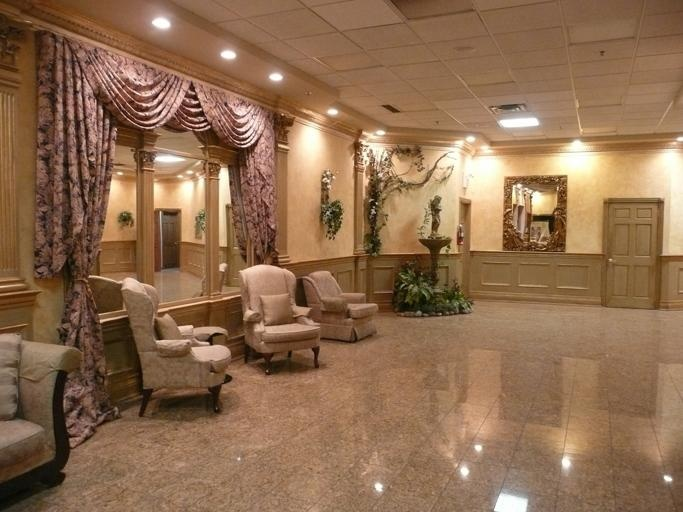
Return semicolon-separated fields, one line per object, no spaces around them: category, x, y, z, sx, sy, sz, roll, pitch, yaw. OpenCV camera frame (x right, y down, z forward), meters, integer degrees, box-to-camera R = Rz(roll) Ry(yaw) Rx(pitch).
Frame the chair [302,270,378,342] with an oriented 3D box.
chair;-0.096;0.767;7.216;1.140;1.189;1.016;2;3;31

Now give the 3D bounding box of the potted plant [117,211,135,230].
potted plant;-2.363;-0.387;4.905;0.138;0.136;0.152;17;-7;24

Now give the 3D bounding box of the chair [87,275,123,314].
chair;-2.474;0.373;4.787;0.346;0.470;0.373;7;8;43

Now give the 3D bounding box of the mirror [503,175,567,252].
mirror;4.661;-1.036;10.679;1.688;2.354;0.109;1;5;17

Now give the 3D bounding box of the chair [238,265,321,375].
chair;-0.838;0.743;5.940;0.905;1.209;1.030;0;-2;-38

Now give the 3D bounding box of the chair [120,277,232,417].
chair;-1.743;0.905;4.776;1.046;1.241;0.856;2;1;-14

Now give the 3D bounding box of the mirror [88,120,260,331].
mirror;-2.026;-0.366;5.307;0.352;2.843;2.750;-2;-4;21

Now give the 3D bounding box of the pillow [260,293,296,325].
pillow;-0.876;0.721;5.951;0.378;0.344;0.140;1;-18;-35
